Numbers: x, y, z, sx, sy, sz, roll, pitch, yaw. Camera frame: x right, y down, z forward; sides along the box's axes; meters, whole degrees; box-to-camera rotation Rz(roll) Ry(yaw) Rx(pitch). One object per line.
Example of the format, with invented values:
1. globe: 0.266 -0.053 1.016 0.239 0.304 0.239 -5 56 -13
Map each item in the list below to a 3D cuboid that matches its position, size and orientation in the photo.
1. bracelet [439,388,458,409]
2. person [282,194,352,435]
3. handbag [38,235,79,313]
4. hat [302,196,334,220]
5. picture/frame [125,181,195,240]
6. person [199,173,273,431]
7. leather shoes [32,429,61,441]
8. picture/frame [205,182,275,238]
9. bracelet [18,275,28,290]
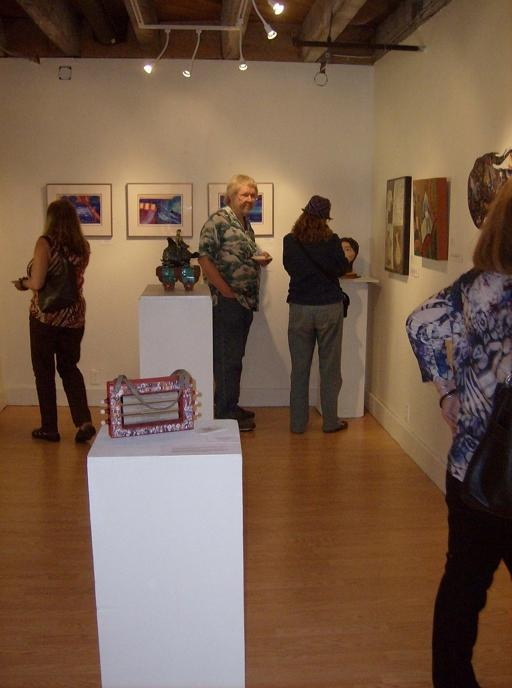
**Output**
1. bracelet: 0.486 0.136 1.475 0.050 0.019 0.037 -39 -20 7
2. person: 0.463 -0.183 4.520 0.499 1.852 0.417 0 6 2
3. handbag: -1.446 -0.438 4.199 0.309 0.474 0.166 -5 -7 43
4. hat: 0.480 -1.042 4.341 0.149 0.118 0.217 25 13 -7
5. picture/frame: -0.883 -1.240 5.254 0.678 0.654 0.025 -1 5 -6
6. person: -0.199 -0.273 4.513 0.552 2.032 0.524 -2 6 -18
7. leather shoes: -1.650 0.707 4.513 0.222 0.102 0.094 2 0 14
8. picture/frame: -0.140 -1.129 4.770 0.602 0.599 0.043 0 11 0
9. bracelet: -1.734 -0.448 4.294 0.066 0.092 0.366 -2 8 -22
